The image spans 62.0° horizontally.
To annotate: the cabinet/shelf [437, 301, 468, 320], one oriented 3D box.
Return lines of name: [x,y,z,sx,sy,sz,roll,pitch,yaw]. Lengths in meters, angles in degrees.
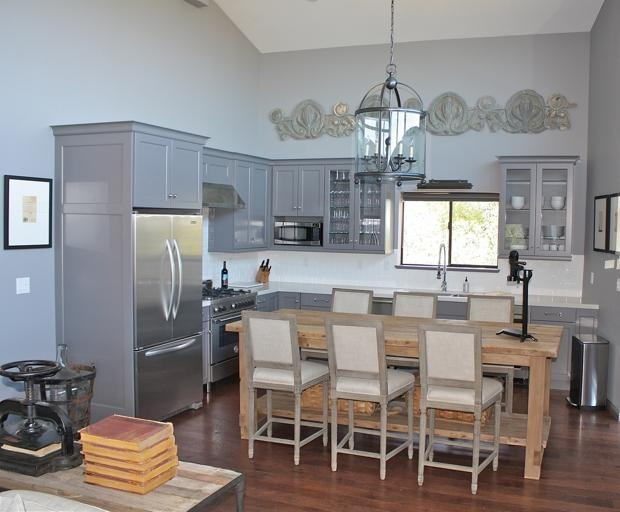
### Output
cabinet/shelf: [1.707,0.660,6.229,0.377,0.272,0.206,3,8,21]

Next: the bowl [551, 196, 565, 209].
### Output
bowl: [2.948,-0.637,6.158,0.142,0.133,0.129,0,3,9]

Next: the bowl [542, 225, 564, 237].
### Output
bowl: [2.914,-0.296,6.202,0.163,0.109,0.178,0,2,0]

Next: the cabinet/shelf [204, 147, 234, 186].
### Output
cabinet/shelf: [-1.100,-1.072,6.289,0.321,0.369,0.579,6,6,30]

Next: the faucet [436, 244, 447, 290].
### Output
faucet: [1.763,0.146,6.900,0.129,0.620,0.283,1,4,13]

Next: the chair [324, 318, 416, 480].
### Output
chair: [0.472,1.045,4.156,0.663,1.189,0.762,2,4,27]

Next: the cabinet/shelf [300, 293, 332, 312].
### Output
cabinet/shelf: [0.079,0.564,6.859,0.341,0.340,0.231,0,-2,18]

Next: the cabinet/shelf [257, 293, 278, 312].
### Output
cabinet/shelf: [-0.564,0.606,6.693,0.098,0.237,0.255,0,1,27]

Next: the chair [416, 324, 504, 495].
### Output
chair: [1.111,1.065,3.876,0.596,1.202,0.628,2,4,19]

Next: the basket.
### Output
basket: [-1.678,1.017,3.683,0.208,0.462,0.454,3,4,32]

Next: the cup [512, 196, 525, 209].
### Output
cup: [2.517,-0.654,6.275,0.144,0.112,0.126,0,3,13]

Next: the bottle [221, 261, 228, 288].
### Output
bottle: [-1.112,0.241,6.825,0.094,0.333,0.481,0,4,-9]

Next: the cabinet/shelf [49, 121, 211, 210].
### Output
cabinet/shelf: [-1.684,-0.831,4.875,0.782,0.781,1.262,0,2,25]

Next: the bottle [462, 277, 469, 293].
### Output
bottle: [2.042,0.369,6.777,0.076,0.204,0.077,0,4,0]

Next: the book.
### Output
book: [-0.762,0.824,2.187,0.355,0.228,0.264,3,5,31]

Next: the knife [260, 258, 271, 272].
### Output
knife: [-0.657,0.130,7.679,0.129,0.186,0.237,1,4,3]
